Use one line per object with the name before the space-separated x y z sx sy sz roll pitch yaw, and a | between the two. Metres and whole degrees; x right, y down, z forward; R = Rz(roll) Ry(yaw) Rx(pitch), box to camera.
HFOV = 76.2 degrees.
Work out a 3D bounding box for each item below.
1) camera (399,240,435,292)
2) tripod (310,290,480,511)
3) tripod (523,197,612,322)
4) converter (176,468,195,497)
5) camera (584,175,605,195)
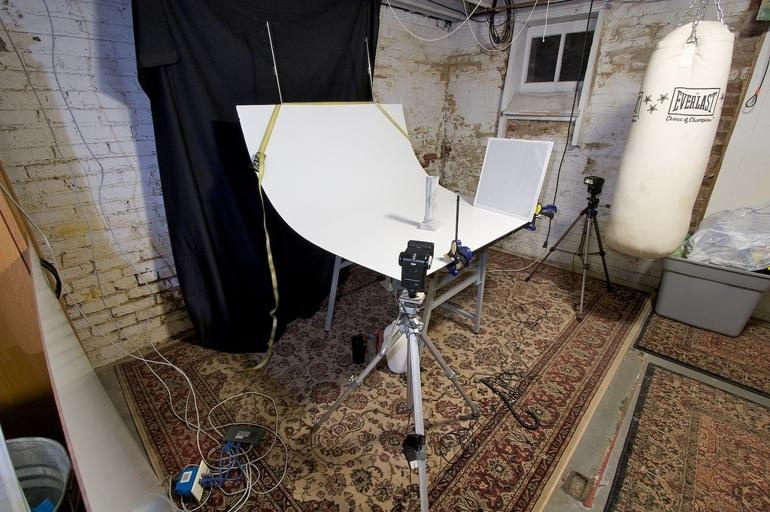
camera | 0.173 0.079 2.907 0.184 0.270 0.257 7 15 7
tripod | 0.072 1.029 3.352 0.802 0.975 0.820 15 36 18
tripod | 1.680 0.043 4.449 0.568 0.908 0.660 -24 40 -35
converter | -1.228 1.396 3.029 0.072 0.098 0.133 22 43 -23
camera | 1.749 -0.600 4.171 0.159 0.153 0.156 2 24 -4
